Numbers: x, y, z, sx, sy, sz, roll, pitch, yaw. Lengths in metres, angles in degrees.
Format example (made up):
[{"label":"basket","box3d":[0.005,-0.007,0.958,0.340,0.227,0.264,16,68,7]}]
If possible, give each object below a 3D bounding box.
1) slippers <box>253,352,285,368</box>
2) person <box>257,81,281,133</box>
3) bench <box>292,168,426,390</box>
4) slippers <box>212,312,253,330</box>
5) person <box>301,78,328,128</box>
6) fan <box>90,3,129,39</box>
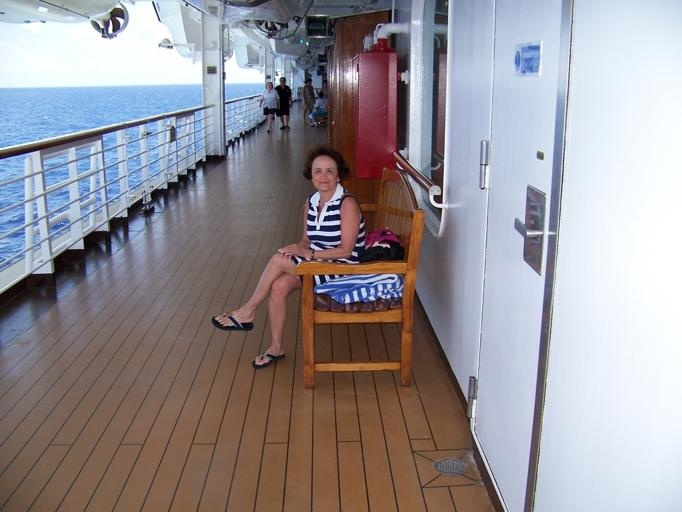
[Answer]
[{"label":"slippers","box3d":[-0.434,0.607,3.031,0.146,0.049,0.077,-7,13,-30]},{"label":"person","box3d":[-2.174,-4.567,15.386,0.571,1.510,2.162,-4,22,-8]},{"label":"bench","box3d":[0.133,0.099,3.049,0.658,1.097,0.958,1,21,6]},{"label":"slippers","box3d":[-0.658,0.403,3.095,0.189,0.072,0.114,2,25,-10]},{"label":"person","box3d":[-0.886,-5.396,17.685,0.783,1.546,1.904,-2,22,-3]},{"label":"fan","box3d":[-3.861,-3.969,8.469,0.555,0.545,1.154,-10,24,-22]}]
